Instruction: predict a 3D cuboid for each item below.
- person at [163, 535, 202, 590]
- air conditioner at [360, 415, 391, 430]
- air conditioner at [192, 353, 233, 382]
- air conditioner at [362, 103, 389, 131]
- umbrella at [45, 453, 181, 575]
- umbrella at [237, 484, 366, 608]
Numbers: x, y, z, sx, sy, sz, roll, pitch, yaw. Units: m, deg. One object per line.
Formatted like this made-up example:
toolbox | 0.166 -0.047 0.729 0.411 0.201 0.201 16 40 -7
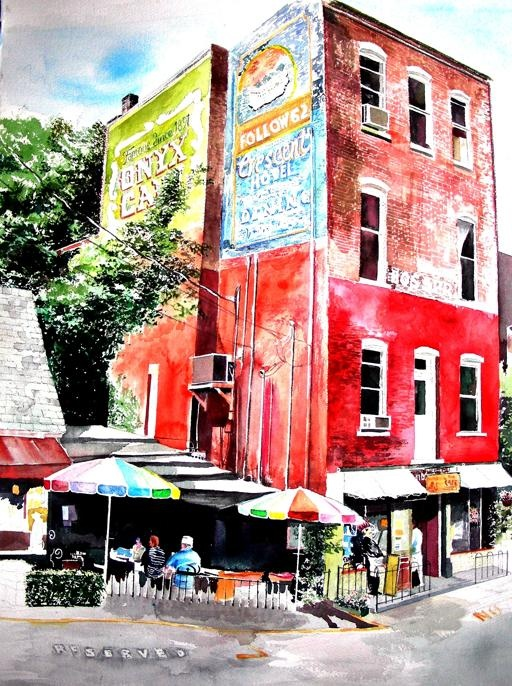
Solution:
person | -1.403 4.406 16.946 0.707 1.088 0.725 3 -2 36
air conditioner | 2.653 1.787 19.002 0.904 0.409 0.169 14 -19 -41
air conditioner | -1.202 0.631 20.902 1.099 0.785 0.664 -8 -18 34
air conditioner | 2.686 -5.182 19.549 0.871 0.458 0.272 9 -11 -44
umbrella | -2.904 3.507 16.965 2.608 2.364 2.563 9 -8 -34
umbrella | 0.817 3.869 17.267 2.475 1.826 2.330 0 -5 23
